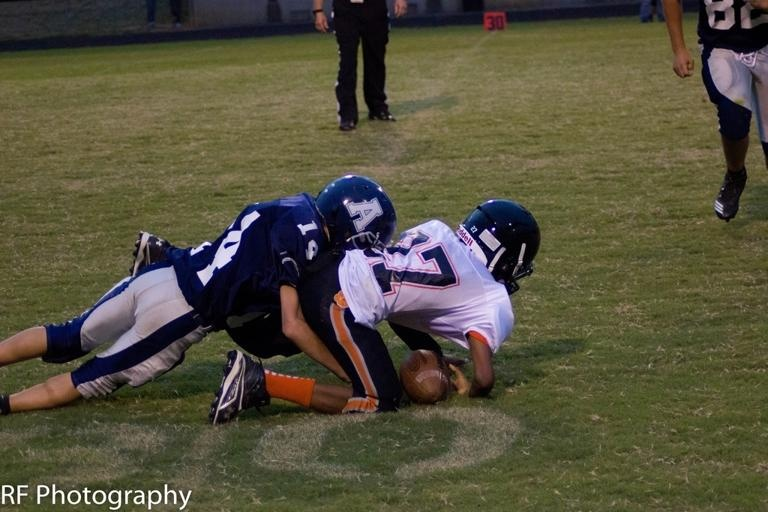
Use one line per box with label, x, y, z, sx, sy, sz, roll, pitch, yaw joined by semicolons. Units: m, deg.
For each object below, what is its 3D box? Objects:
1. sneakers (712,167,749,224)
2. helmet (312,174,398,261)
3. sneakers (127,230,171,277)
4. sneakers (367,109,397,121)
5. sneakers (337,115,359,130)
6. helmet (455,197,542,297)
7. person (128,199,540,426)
sneakers;2.649;-0.477;10.469;0.180;0.457;0.219;23;9;14
helmet;-0.137;-0.265;9.325;0.634;0.464;0.435;18;-9;-7
sneakers;-1.653;-0.033;9.590;0.249;0.485;0.170;-5;40;-27
sneakers;-0.027;-1.334;12.738;0.281;0.097;0.095;0;4;13
sneakers;-0.348;-1.239;12.480;0.173;0.129;0.186;-5;22;0
helmet;0.770;-0.039;9.271;0.556;0.494;0.458;42;7;-30
person;-0.213;0.468;9.222;2.507;1.048;1.408;-8;38;-14
